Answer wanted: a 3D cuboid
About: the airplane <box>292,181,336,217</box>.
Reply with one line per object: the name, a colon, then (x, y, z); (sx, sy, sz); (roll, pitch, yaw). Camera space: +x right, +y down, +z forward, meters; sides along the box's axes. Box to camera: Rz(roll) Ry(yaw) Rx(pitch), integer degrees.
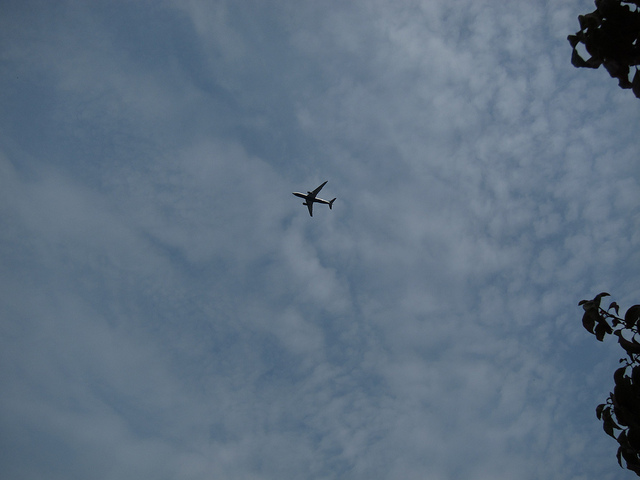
airplane: (-0.369, -2.623, 74.389); (2.956, 2.676, 0.749); (16, 30, -19)
